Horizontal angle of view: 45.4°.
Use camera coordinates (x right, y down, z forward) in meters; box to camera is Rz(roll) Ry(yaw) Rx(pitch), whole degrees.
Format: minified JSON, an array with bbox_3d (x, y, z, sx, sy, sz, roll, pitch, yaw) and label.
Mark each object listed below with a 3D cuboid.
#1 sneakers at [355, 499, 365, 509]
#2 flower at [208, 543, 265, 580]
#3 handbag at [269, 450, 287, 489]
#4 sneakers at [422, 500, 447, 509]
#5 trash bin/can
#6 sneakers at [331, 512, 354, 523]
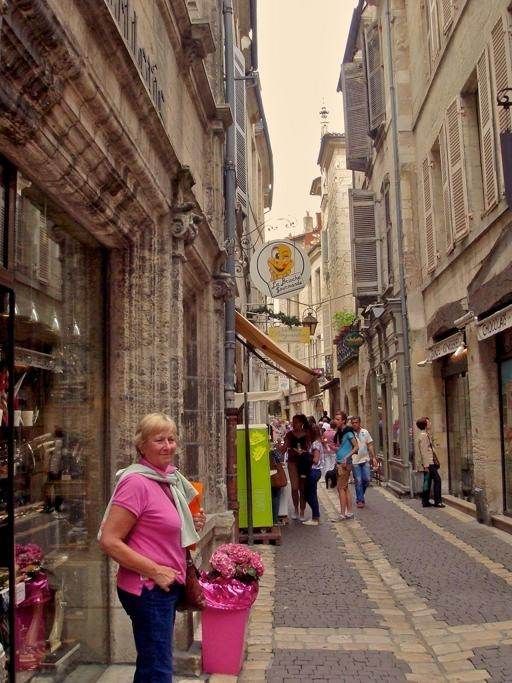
[{"bbox_3d":[2.295,3.540,13.344,0.103,0.137,0.320,-1,-25,5],"label":"sneakers"},{"bbox_3d":[-0.152,1.405,4.041,0.242,0.125,0.270,10,-12,-37],"label":"flower"},{"bbox_3d":[0.367,2.111,10.043,0.257,0.667,0.648,-1,-5,2],"label":"handbag"},{"bbox_3d":[3.792,3.467,13.175,0.570,0.235,0.198,-3,-8,13],"label":"sneakers"},{"bbox_3d":[-0.171,1.810,3.927,0.356,0.564,0.238,0,-5,-4],"label":"trash bin/can"},{"bbox_3d":[1.623,3.226,11.296,0.520,0.235,0.180,4,-14,-16],"label":"sneakers"}]
